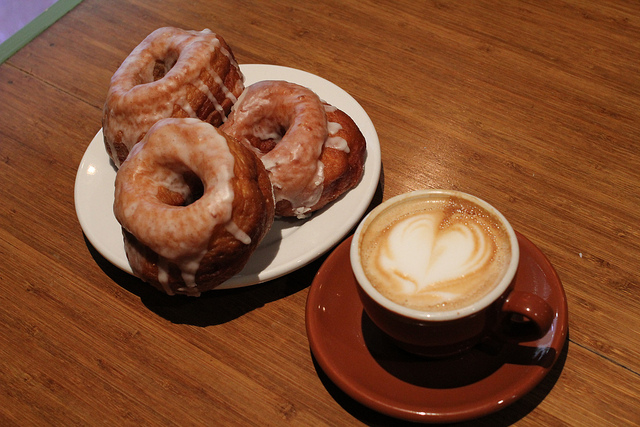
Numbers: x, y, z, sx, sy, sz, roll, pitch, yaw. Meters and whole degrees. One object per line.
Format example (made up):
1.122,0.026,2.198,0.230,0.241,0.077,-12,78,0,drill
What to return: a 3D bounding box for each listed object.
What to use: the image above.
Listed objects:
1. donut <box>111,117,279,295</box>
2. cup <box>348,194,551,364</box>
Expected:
-0.373,-0.018,1.656,0.447,0.200,0.468,24,75,9,donut
0.292,0.156,1.444,0.394,0.180,0.434,-18,73,-3,cup
